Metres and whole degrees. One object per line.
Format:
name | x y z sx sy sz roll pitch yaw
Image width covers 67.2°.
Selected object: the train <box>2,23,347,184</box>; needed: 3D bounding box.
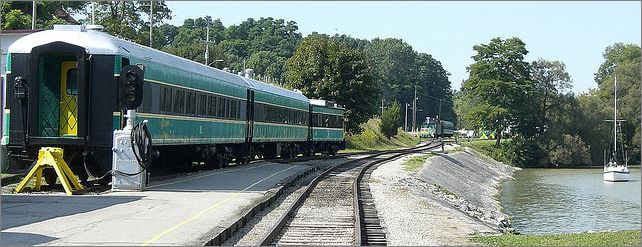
train | -15.159 -1.228 49.826 9.760 8.688 46.378 -2 -4 33
